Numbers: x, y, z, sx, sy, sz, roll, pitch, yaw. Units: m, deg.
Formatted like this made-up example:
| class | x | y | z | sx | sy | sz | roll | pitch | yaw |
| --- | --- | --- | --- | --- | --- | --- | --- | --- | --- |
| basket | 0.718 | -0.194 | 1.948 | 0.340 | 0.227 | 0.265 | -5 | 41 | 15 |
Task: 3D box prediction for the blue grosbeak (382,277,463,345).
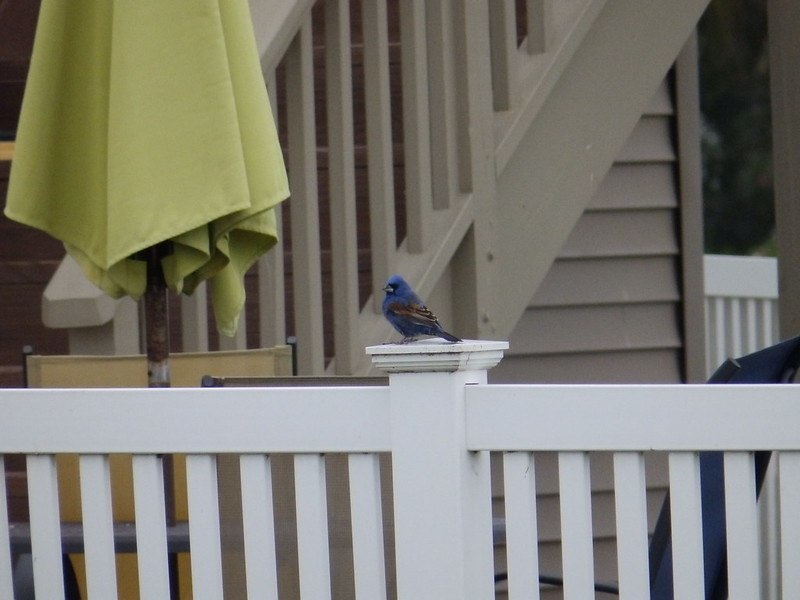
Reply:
| class | x | y | z | sx | sy | sz | roll | pitch | yaw |
| --- | --- | --- | --- | --- | --- | --- | --- | --- | --- |
| blue grosbeak | 0.087 | 0.042 | 10.780 | 0.331 | 0.294 | 0.148 | 1 | -5 | 15 |
